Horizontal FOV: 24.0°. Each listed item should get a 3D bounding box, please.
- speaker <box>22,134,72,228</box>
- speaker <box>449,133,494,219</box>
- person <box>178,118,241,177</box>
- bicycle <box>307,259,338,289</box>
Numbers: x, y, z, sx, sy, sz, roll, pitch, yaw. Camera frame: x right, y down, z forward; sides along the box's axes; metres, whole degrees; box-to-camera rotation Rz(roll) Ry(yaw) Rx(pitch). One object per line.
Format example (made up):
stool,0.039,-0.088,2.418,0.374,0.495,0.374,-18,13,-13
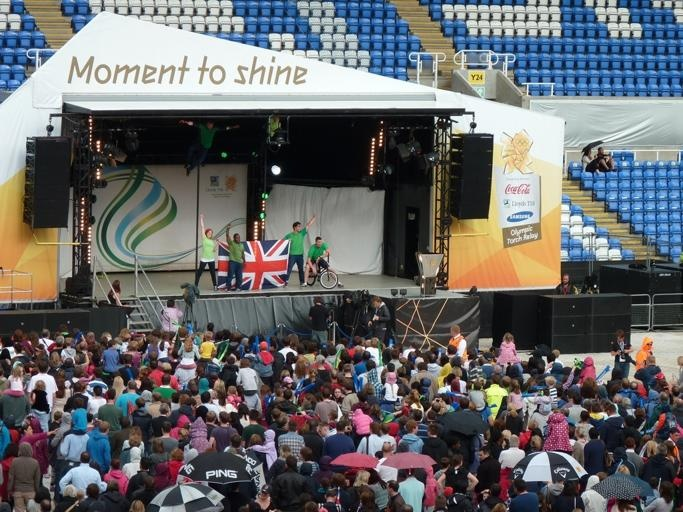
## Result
speaker,-7.781,-2.001,43.602,1.153,2.489,1.051,0,2,-15
speaker,3.665,-2.366,46.441,1.072,2.575,0.592,-6,11,-29
person,-4.050,-3.311,47.163,1.464,2.098,0.473,19,23,-25
bicycle,-0.531,0.541,46.969,1.085,0.754,0.558,1,0,12
